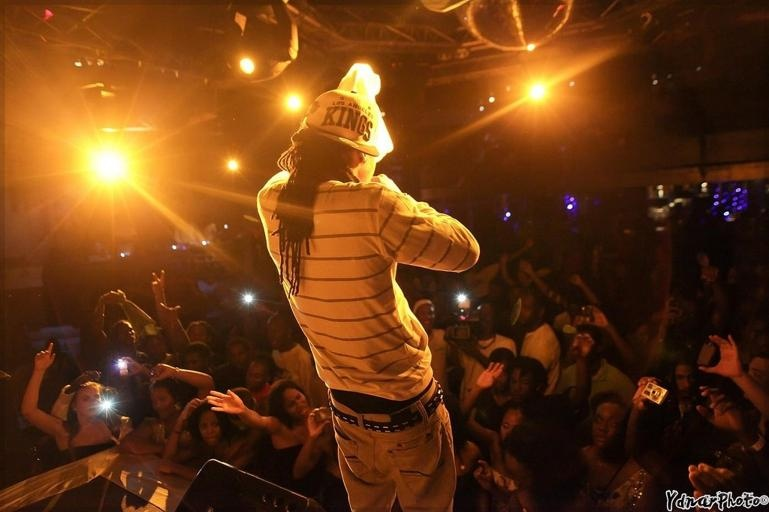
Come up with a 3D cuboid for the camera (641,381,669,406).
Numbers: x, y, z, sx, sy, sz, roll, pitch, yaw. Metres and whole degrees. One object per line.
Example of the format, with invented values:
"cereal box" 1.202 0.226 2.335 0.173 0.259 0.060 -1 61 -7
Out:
"camera" 2.732 1.380 6.197 0.286 0.233 0.081 -4 -10 -12
